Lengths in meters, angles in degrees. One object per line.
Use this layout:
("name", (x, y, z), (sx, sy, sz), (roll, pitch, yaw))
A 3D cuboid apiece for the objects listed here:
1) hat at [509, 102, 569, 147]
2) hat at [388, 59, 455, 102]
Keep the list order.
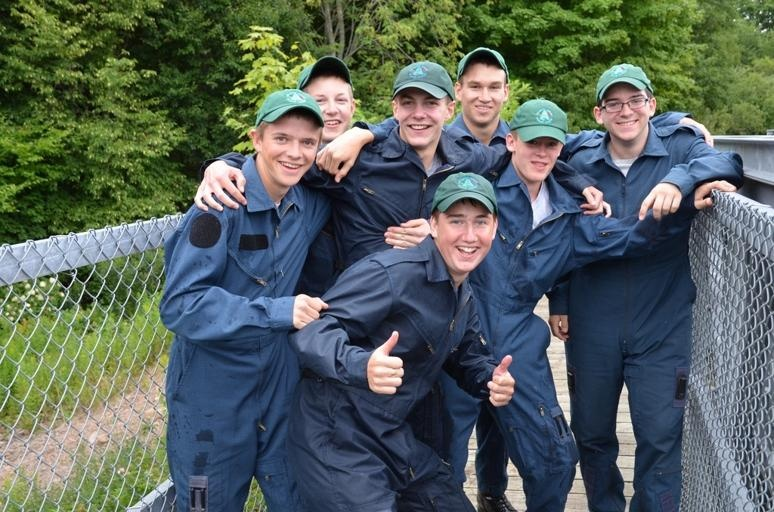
("hat", (1.177, -1.064, 5.423), (0.307, 0.231, 0.411), (8, 16, -4))
("hat", (0.278, -1.325, 5.177), (0.447, 0.295, 0.254), (-1, 7, 0))
